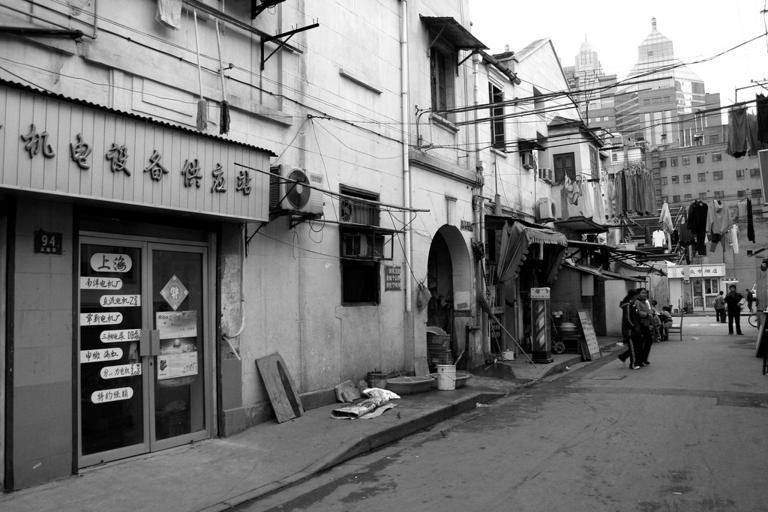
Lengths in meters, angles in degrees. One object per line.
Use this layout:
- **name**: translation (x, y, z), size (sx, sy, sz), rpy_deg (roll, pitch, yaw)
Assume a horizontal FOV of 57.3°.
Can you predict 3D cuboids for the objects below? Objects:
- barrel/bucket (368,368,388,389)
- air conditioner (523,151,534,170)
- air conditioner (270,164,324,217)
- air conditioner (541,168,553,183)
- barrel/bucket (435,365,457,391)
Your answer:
- **barrel/bucket**: translation (-0.214, 3.033, 17.257), size (0.349, 0.385, 0.372), rpy_deg (0, -8, 0)
- **air conditioner**: translation (5.413, -3.626, 26.566), size (0.360, 0.653, 0.697), rpy_deg (-3, -4, 27)
- **air conditioner**: translation (-1.858, -1.384, 15.009), size (0.520, 0.998, 1.226), rpy_deg (-2, -3, 42)
- **air conditioner**: translation (6.611, -3.301, 28.709), size (0.361, 0.466, 0.674), rpy_deg (-4, -5, 27)
- **barrel/bucket**: translation (1.596, 3.106, 17.884), size (0.507, 0.576, 0.543), rpy_deg (-1, -6, 0)
